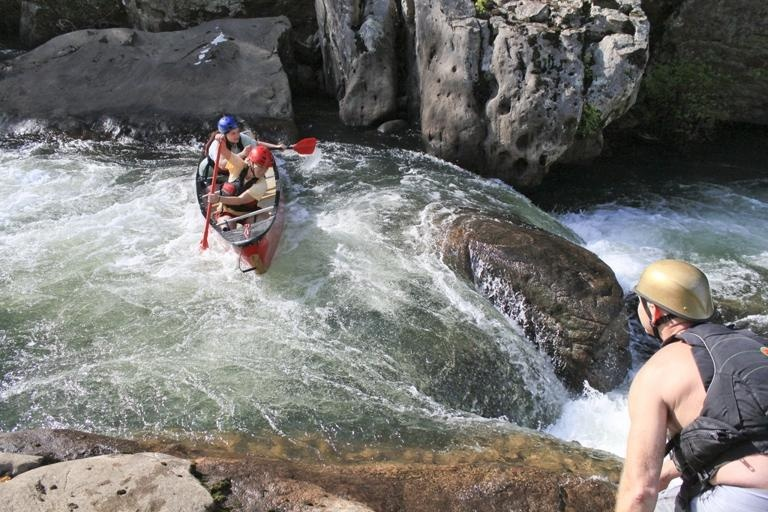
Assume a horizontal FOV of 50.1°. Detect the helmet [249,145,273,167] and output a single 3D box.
[{"bbox_3d":[-2.370,-1.933,15.808,0.316,0.248,0.443,-11,22,-39],"label":"helmet"}]
